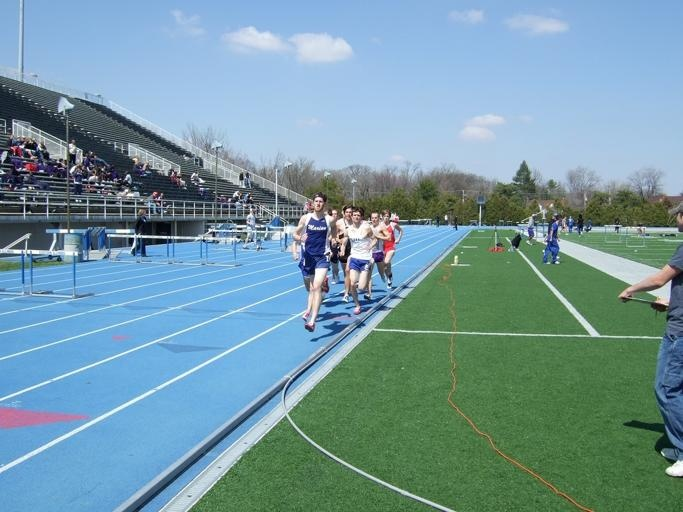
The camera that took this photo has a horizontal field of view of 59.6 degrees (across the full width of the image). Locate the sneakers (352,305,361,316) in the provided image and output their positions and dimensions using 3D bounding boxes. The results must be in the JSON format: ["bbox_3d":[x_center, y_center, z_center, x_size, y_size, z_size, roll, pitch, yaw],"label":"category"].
[{"bbox_3d":[0.278,1.020,11.080,0.151,0.214,0.477,-2,-4,13],"label":"sneakers"}]

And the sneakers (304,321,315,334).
[{"bbox_3d":[-0.501,1.125,9.330,0.166,0.191,0.430,5,-11,-2],"label":"sneakers"}]

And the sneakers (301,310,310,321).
[{"bbox_3d":[-0.592,0.983,9.781,0.087,0.186,0.252,38,-2,3],"label":"sneakers"}]

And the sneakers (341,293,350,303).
[{"bbox_3d":[0.083,0.895,12.489,0.193,0.220,0.524,2,2,2],"label":"sneakers"}]
